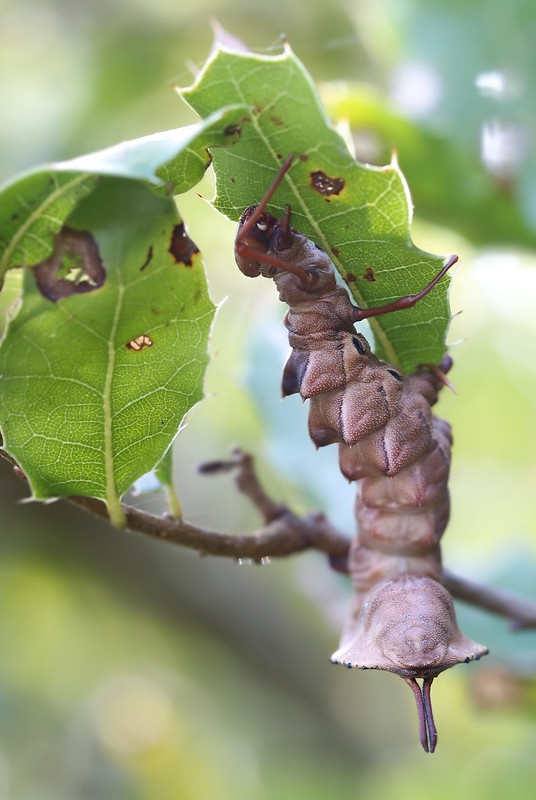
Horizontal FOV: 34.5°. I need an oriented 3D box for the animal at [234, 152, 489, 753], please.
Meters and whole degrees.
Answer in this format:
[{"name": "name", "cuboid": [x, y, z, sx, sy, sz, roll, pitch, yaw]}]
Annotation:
[{"name": "animal", "cuboid": [0.116, 0.043, 0.805, 0.171, 0.499, 0.235, -30, 19, -36]}]
